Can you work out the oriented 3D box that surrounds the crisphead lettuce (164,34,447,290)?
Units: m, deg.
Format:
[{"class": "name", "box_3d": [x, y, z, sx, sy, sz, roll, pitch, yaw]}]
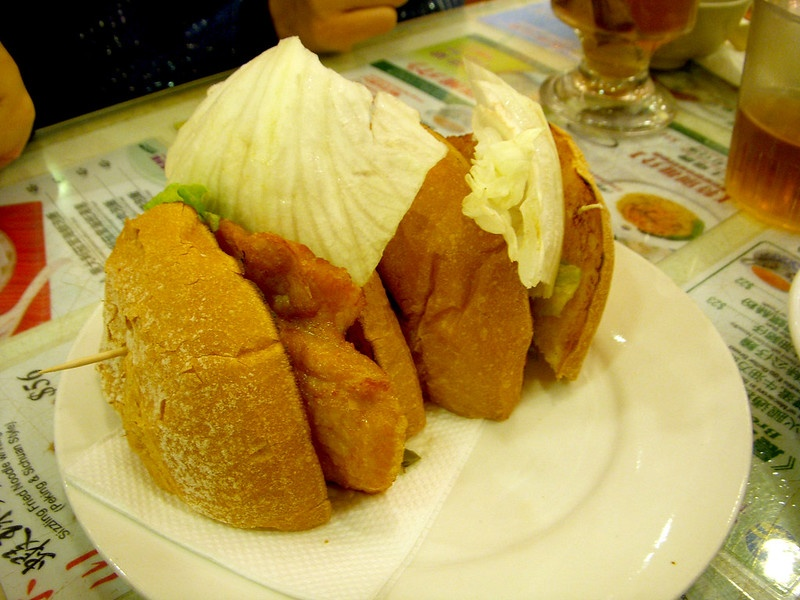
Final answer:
[{"class": "crisphead lettuce", "box_3d": [-0.173, -0.192, 1.222, 0.475, 0.123, 0.389, 21, 87, 5]}]
